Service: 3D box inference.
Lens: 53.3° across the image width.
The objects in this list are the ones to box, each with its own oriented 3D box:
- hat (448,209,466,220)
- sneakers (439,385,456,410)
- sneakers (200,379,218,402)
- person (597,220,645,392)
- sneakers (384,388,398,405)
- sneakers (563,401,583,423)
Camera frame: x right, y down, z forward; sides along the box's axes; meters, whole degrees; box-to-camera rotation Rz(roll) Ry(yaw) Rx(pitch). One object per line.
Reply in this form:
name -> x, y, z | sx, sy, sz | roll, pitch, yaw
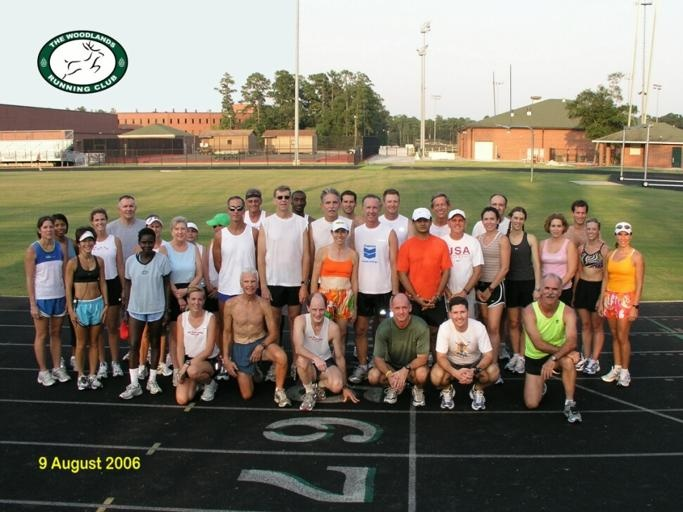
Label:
hat -> 1.885, -0.698, 11.183 | 0.254, 0.135, 0.352 | 2, -1, 5
sneakers -> 1.574, 2.134, 10.153 | 0.161, 0.404, 0.184 | -8, -39, 30
sneakers -> -2.026, 2.063, 10.444 | 0.147, 0.163, 0.363 | -1, 9, 7
person -> 4.466, 0.916, 10.958 | 0.594, 2.188, 0.825 | 5, 15, 20
sneakers -> 0.748, 2.090, 10.306 | 0.215, 0.238, 0.249 | 1, 14, 3
sneakers -> 3.287, 2.209, 9.633 | 0.154, 0.178, 0.399 | -3, 0, 10
